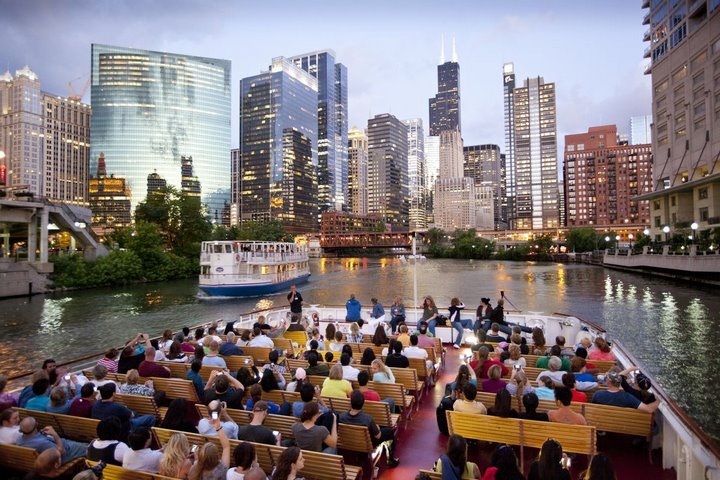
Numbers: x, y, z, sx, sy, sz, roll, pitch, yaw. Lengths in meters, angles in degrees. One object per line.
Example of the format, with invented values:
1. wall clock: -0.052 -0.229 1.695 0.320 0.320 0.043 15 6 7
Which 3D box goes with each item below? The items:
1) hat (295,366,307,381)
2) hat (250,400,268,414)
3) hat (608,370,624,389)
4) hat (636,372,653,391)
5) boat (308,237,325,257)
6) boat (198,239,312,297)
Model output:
1. hat: -2.270 5.145 20.603 0.369 0.433 0.459 3 14 4
2. hat: -3.532 5.877 18.966 0.474 0.422 0.414 -1 1 -36
3. hat: 9.601 5.228 20.029 0.472 0.593 0.580 8 -20 9
4. hat: 10.754 5.281 20.088 0.482 0.617 0.545 -4 28 2
5. boat: -14.025 2.634 164.383 5.092 6.879 5.006 1 -5 0
6. boat: -10.085 3.200 57.451 5.711 3.976 14.938 -1 -5 18
